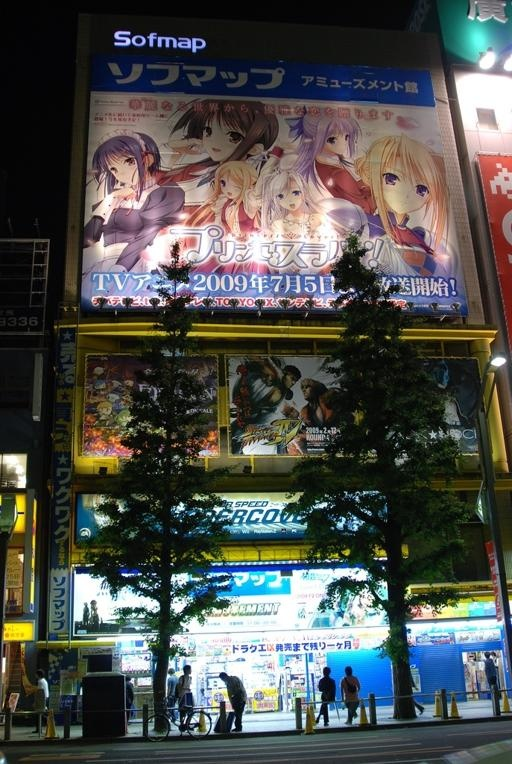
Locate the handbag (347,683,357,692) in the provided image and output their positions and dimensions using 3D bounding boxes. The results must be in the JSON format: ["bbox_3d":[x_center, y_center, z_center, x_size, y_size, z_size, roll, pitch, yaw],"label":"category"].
[{"bbox_3d":[2.493,7.944,19.225,0.256,0.225,0.143,3,-24,-1],"label":"handbag"}]
